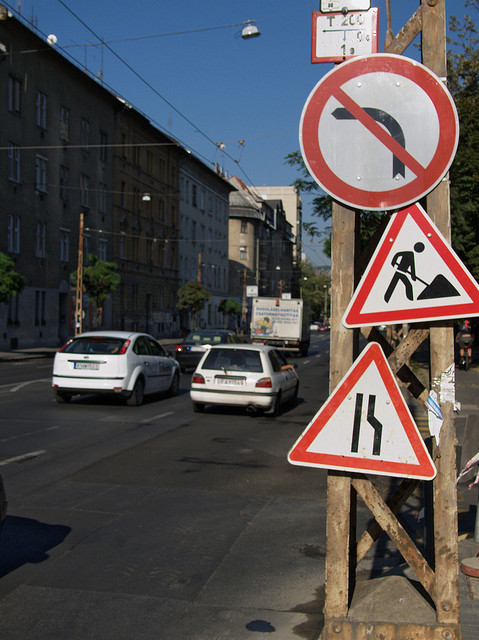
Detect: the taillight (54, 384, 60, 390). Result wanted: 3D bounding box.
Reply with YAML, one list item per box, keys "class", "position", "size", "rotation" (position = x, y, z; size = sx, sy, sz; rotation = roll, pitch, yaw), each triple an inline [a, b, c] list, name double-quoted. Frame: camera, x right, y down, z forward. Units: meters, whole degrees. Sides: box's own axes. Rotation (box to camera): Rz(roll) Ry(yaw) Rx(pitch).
- class: "taillight"
  position: [-3.026, 1.119, 14.427]
  size: [0.124, 0.087, 0.040]
  rotation: [-1, -1, 36]

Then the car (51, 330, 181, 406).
- class: "car"
  position: [-1.993, 0.794, 15.186]
  size: [1.002, 0.906, 2.151]
  rotation: [0, 2, 18]

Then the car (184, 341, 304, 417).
- class: "car"
  position: [0.084, 0.987, 14.464]
  size: [1.382, 1.151, 1.847]
  rotation: [0, -1, 9]

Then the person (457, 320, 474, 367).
- class: "person"
  position: [6.338, 0.592, 24.812]
  size: [0.686, 0.973, 1.470]
  rotation: [-2, -6, 12]

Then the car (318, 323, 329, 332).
- class: "car"
  position: [11.343, 1.369, 118.778]
  size: [0.962, 0.918, 1.789]
  rotation: [3, 7, 13]

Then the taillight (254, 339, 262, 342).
- class: "taillight"
  position: [0.829, 0.936, 38.119]
  size: [0.205, 0.115, 0.560]
  rotation: [0, -1, 19]

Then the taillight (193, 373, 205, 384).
- class: "taillight"
  position: [-0.650, 0.932, 13.826]
  size: [0.227, 0.156, 0.059]
  rotation: [-1, -1, 34]

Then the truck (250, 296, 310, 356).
- class: "truck"
  position: [1.629, -0.004, 40.460]
  size: [2.335, 2.840, 4.888]
  rotation: [4, 11, 1]

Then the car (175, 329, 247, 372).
- class: "car"
  position: [-0.926, 0.764, 25.141]
  size: [1.042, 0.843, 2.453]
  rotation: [-1, 4, 13]

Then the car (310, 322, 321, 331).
- class: "car"
  position: [10.642, 0.945, 121.656]
  size: [1.370, 1.375, 4.247]
  rotation: [-2, -1, 7]

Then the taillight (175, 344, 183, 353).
- class: "taillight"
  position: [-1.689, 0.827, 24.491]
  size: [0.201, 0.166, 0.335]
  rotation: [4, -4, -5]
